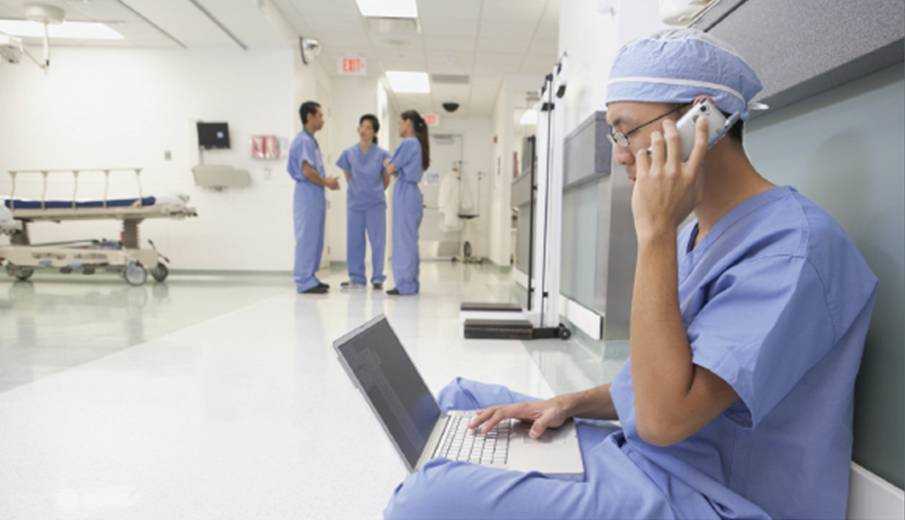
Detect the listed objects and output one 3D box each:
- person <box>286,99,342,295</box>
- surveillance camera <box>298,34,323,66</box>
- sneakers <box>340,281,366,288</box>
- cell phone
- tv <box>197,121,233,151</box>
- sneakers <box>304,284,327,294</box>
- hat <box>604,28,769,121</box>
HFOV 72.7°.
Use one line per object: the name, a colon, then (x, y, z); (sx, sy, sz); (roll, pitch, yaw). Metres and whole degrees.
person: (-1.324, -0.623, 5.901); (0.453, 1.821, 0.512); (-3, 8, -11)
surveillance camera: (-1.741, -2.573, 7.524); (0.068, 0.266, 0.301); (22, 17, 39)
sneakers: (-1.019, 0.240, 6.304); (0.278, 0.101, 0.087); (2, 1, -12)
cell phone: (0.728, -0.390, 1.829); (0.195, 0.143, 0.045); (-38, 20, 10)
tv: (-2.873, -1.494, 7.398); (0.387, 0.320, 0.120); (-1, -1, -5)
sneakers: (-1.292, 0.258, 5.833); (0.222, 0.084, 0.239); (-2, 7, -9)
hat: (0.759, -0.611, 1.993); (0.514, 0.234, 0.372); (9, 12, 7)
